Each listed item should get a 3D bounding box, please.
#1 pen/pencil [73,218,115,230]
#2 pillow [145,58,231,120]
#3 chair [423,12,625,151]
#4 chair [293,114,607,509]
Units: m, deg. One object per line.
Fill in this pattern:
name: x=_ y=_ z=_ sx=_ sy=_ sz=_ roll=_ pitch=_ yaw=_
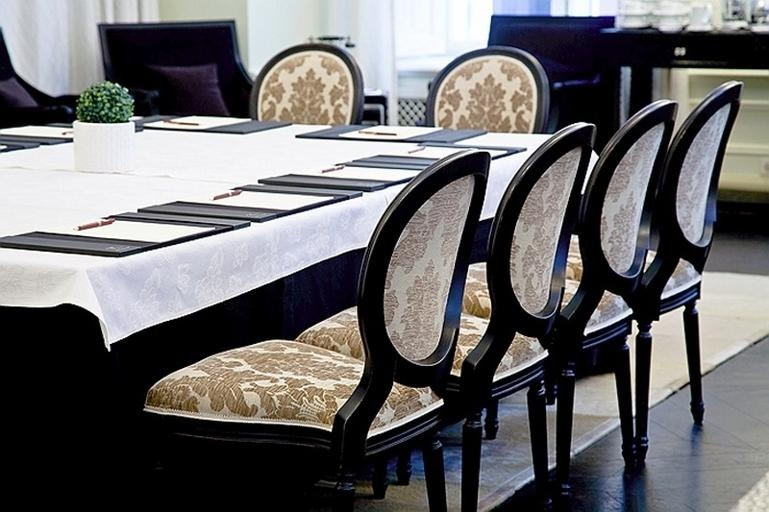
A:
pen/pencil: x=-0.684 y=-0.081 z=1.654 sx=0.025 sy=0.021 sz=0.132 roll=-6 pitch=6 yaw=25
pillow: x=-1.437 y=-1.253 z=5.338 sx=0.446 sy=0.675 sz=0.527 roll=1 pitch=15 yaw=14
chair: x=1.326 y=-1.510 z=5.871 sx=0.936 sy=1.250 sz=0.896 roll=-2 pitch=36 yaw=2
chair: x=0.381 y=0.034 z=2.240 sx=0.809 sy=1.394 sz=0.752 roll=5 pitch=13 yaw=30
